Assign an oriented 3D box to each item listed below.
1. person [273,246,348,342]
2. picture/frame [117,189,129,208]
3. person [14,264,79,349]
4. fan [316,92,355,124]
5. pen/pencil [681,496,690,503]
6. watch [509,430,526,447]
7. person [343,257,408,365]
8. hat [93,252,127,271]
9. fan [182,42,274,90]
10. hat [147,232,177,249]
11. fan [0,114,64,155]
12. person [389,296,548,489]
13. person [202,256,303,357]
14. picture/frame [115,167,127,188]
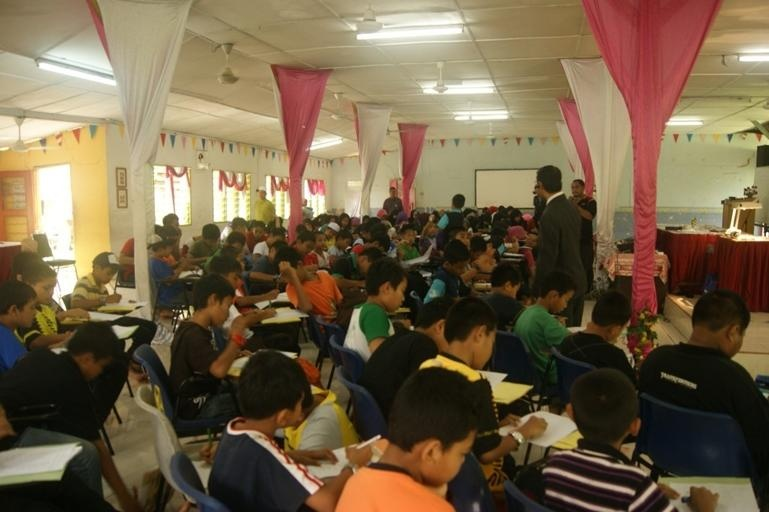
[{"bbox_3d":[-0.773,0.400,5.648,1.091,0.464,0.356,17,-47,-40],"label":"person"},{"bbox_3d":[-5.360,-1.151,11.329,0.043,0.420,0.376,-2,2,26],"label":"picture/frame"},{"bbox_3d":[-2.992,0.454,4.891,0.521,0.802,0.576,-1,7,-13],"label":"person"},{"bbox_3d":[-1.061,-3.342,12.647,0.727,0.123,2.979,0,4,-5],"label":"fan"},{"bbox_3d":[1.601,1.291,2.949,0.033,0.025,0.008,-7,-17,26],"label":"pen/pencil"},{"bbox_3d":[0.778,1.069,3.269,0.068,0.103,0.107,-34,-21,-5],"label":"watch"},{"bbox_3d":[-0.080,0.437,4.329,0.358,0.791,0.617,8,11,-24],"label":"person"},{"bbox_3d":[-3.267,0.072,6.620,0.364,0.210,0.241,3,3,-17],"label":"hat"},{"bbox_3d":[-2.354,-2.824,8.283,0.727,0.851,0.683,1,4,31],"label":"fan"},{"bbox_3d":[-2.745,-0.203,6.745,0.329,0.181,0.241,-8,-2,26],"label":"hat"},{"bbox_3d":[-7.278,-2.319,11.459,1.133,0.564,1.104,-5,6,-43],"label":"fan"},{"bbox_3d":[0.640,0.945,3.569,0.807,1.470,0.742,-14,16,-30],"label":"person"},{"bbox_3d":[-1.268,0.529,5.352,0.903,1.331,1.037,1,4,-5],"label":"person"},{"bbox_3d":[-5.382,-1.598,11.305,0.049,0.458,0.408,0,3,21],"label":"picture/frame"}]
